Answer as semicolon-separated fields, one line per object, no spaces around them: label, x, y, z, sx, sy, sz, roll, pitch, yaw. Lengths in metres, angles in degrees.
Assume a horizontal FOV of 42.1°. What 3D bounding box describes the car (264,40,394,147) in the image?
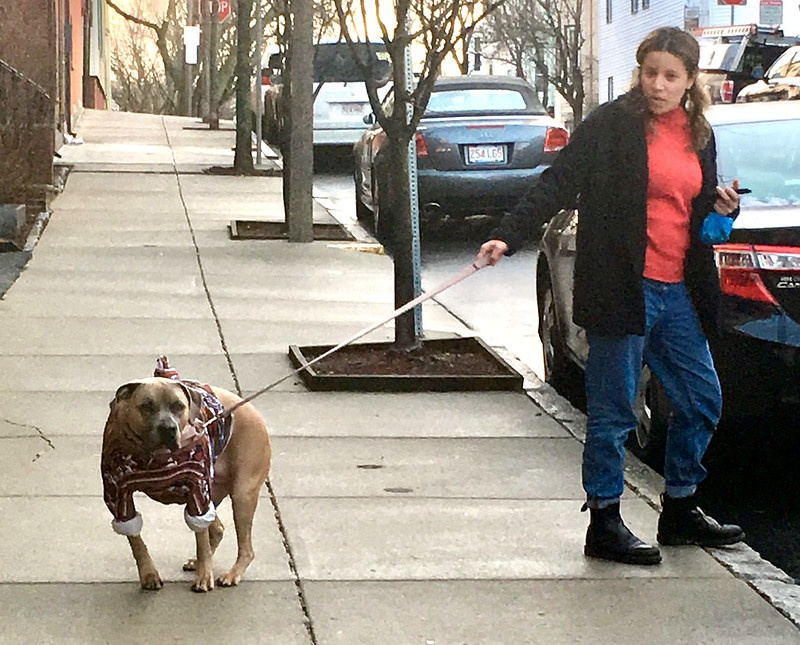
car;-1.621;-4.446;22.297;3.196;2.370;5.100;-2;16;-4

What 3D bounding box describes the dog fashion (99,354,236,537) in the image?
dog fashion;-0.844;0.544;3.842;0.445;0.551;0.709;5;-24;1

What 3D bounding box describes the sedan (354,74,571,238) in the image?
sedan;0.884;-2.298;14.232;2.662;2.166;5.879;0;11;-6
